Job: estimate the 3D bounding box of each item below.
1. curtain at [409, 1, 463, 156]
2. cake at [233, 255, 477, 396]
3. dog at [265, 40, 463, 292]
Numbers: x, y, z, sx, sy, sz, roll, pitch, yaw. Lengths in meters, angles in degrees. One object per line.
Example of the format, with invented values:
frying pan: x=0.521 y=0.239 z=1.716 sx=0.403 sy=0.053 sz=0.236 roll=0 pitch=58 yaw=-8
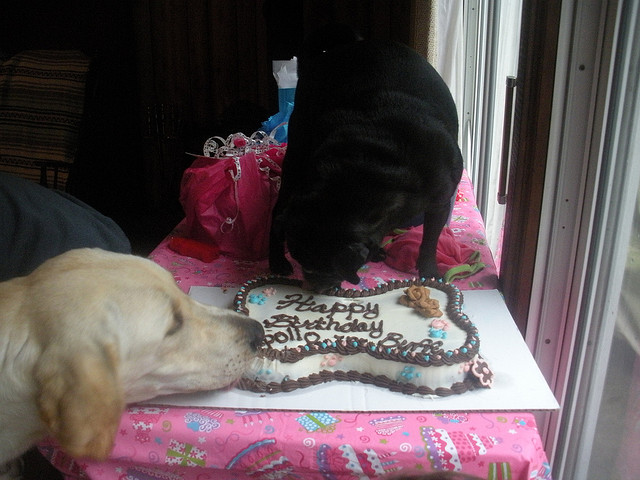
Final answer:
curtain: x=0.608 y=-0.865 z=2.654 sx=0.341 sy=0.708 sz=0.280 roll=7 pitch=21 yaw=13
cake: x=0.118 y=0.227 z=1.294 sx=0.429 sy=0.107 sz=0.317 roll=3 pitch=29 yaw=4
dog: x=0.178 y=-0.188 z=1.558 sx=0.424 sy=0.907 sz=0.518 roll=-1 pitch=-22 yaw=17
